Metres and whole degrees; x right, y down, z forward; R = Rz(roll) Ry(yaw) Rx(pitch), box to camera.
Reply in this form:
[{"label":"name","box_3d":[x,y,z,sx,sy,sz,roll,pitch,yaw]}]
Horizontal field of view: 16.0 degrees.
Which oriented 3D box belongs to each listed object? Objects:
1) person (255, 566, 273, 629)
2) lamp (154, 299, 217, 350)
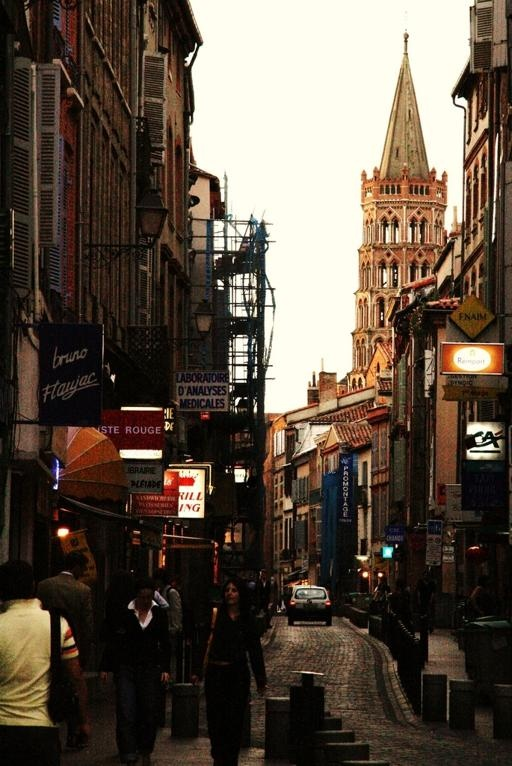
[{"label":"person","box_3d":[0.287,6.834,56.921,0.307,1.675,0.385,5,22,10]},{"label":"lamp","box_3d":[-1.406,-1.091,30.490,1.399,0.928,0.498,-1,2,-6]}]
